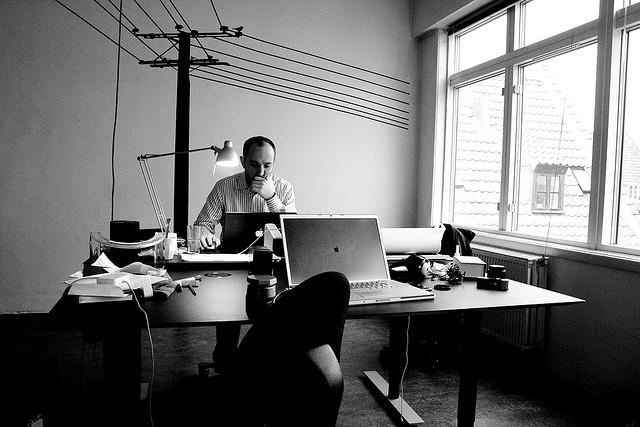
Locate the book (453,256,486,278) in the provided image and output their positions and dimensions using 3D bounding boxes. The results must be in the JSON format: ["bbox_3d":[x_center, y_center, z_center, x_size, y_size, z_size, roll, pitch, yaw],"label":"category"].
[{"bbox_3d":[1.063,0.365,3.706,0.171,0.101,0.166,0,9,-1],"label":"book"}]

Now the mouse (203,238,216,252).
[{"bbox_3d":[-0.892,0.272,4.218,0.086,0.090,0.021,11,-37,-18],"label":"mouse"}]

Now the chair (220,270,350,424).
[{"bbox_3d":[-0.181,0.672,2.585,0.685,0.799,0.307,4,6,30],"label":"chair"}]

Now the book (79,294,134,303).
[{"bbox_3d":[-1.208,0.481,2.930,0.280,0.033,0.033,0,5,-11],"label":"book"}]

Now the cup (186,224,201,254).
[{"bbox_3d":[-0.981,0.194,4.034,0.110,0.204,0.254,0,5,-13],"label":"cup"}]
